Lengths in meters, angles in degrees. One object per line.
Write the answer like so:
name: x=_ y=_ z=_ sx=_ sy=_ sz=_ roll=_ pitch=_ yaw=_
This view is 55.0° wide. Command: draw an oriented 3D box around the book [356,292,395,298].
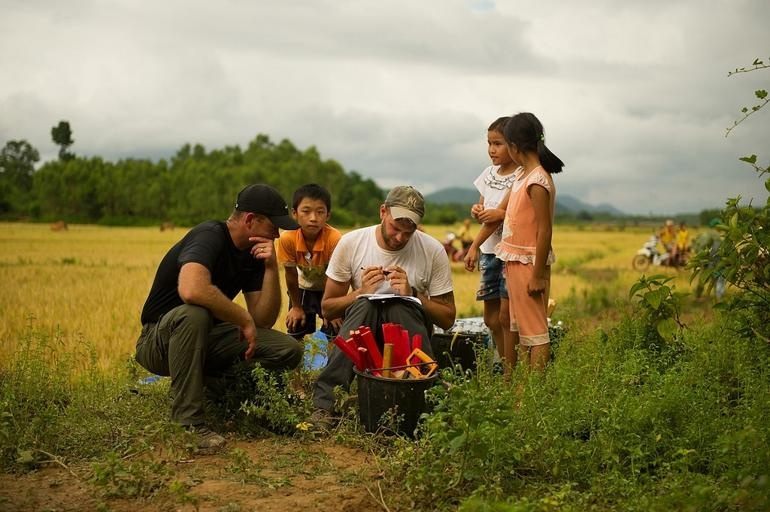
book: x=-0.070 y=0.320 z=5.954 sx=0.270 sy=0.042 sz=0.232 roll=3 pitch=1 yaw=-21

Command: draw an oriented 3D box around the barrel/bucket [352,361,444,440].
barrel/bucket: x=0.041 y=1.077 z=5.536 sx=0.470 sy=0.405 sz=0.490 roll=1 pitch=-8 yaw=0

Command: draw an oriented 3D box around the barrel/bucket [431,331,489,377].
barrel/bucket: x=0.708 y=0.829 z=6.611 sx=0.463 sy=0.375 sz=0.433 roll=0 pitch=-3 yaw=0

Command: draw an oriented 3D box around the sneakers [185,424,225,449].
sneakers: x=-1.338 y=1.366 z=5.484 sx=0.306 sy=0.151 sz=0.162 roll=2 pitch=4 yaw=11

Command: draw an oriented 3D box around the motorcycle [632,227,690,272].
motorcycle: x=6.754 y=-0.170 z=18.029 sx=1.424 sy=1.016 sz=0.859 roll=2 pitch=2 yaw=30

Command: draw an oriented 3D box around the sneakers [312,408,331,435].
sneakers: x=-0.493 y=1.294 z=5.770 sx=0.178 sy=0.137 sz=0.122 roll=3 pitch=1 yaw=-6

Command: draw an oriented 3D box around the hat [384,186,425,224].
hat: x=0.149 y=-0.411 z=5.861 sx=0.317 sy=0.252 sz=0.300 roll=3 pitch=1 yaw=-1

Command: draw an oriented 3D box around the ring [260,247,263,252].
ring: x=-0.984 y=-0.054 z=5.846 sx=0.030 sy=0.032 sz=0.008 roll=-1 pitch=-14 yaw=7

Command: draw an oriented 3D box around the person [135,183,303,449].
person: x=-1.299 y=0.421 z=5.821 sx=1.200 sy=1.418 sz=0.689 roll=2 pitch=1 yaw=-23

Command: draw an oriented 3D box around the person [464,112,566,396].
person: x=1.186 y=-0.107 z=6.242 sx=0.595 sy=2.013 sz=0.998 roll=3 pitch=1 yaw=-1

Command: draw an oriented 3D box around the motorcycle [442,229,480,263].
motorcycle: x=2.159 y=-0.378 z=21.379 sx=0.907 sy=1.187 sz=1.609 roll=-2 pitch=-4 yaw=39

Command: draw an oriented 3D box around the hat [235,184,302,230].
hat: x=-0.932 y=-0.414 z=5.825 sx=0.413 sy=0.243 sz=0.297 roll=15 pitch=7 yaw=-11
